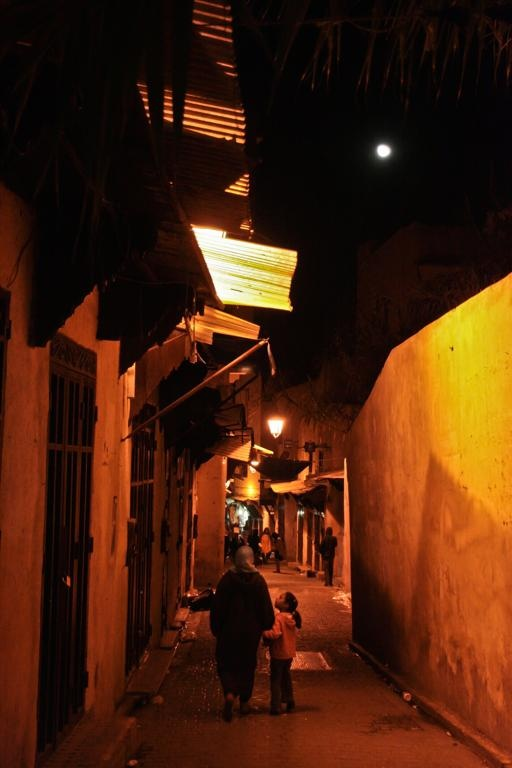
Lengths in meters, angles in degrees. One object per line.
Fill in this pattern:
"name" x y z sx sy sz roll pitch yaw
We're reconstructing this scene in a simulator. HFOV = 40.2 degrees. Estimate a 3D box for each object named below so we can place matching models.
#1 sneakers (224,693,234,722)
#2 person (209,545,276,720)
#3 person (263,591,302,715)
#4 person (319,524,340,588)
"sneakers" -0.243 2.900 6.293 0.053 0.286 0.095 1 -6 -1
"person" -0.133 2.440 7.027 0.462 1.814 0.458 -2 10 -23
"person" 0.256 2.619 6.827 0.349 1.088 0.599 -6 -12 27
"person" 2.189 5.100 21.012 0.389 1.997 0.434 -1 16 4
